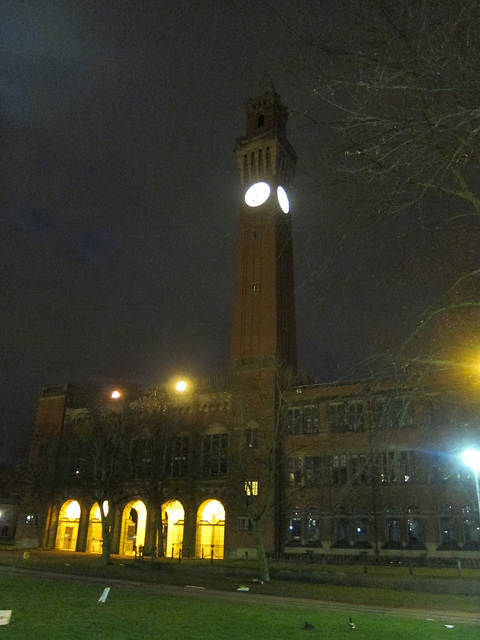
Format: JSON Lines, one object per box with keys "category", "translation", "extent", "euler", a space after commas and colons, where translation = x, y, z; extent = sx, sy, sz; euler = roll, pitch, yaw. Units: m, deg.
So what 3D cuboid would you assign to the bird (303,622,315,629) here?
{"category": "bird", "translation": [1.564, 7.032, 11.952], "extent": [0.262, 0.191, 0.111], "euler": [13, -39, -36]}
